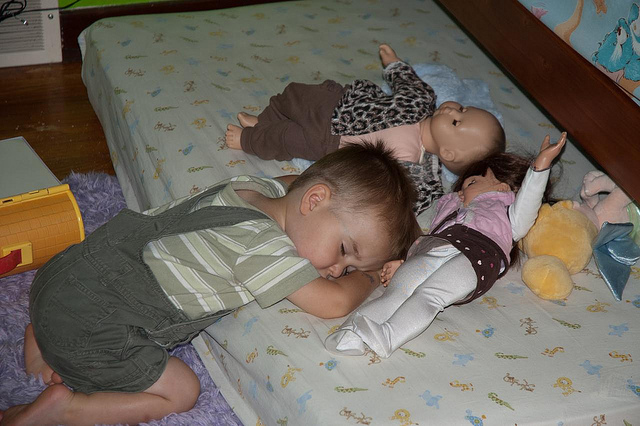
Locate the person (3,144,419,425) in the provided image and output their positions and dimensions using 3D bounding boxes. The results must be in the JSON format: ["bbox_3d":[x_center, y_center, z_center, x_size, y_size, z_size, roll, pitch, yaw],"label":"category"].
[{"bbox_3d":[-0.296,0.293,1.601,1.221,0.470,0.631,-19,58,-8],"label":"person"}]

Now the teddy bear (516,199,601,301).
[{"bbox_3d":[0.730,0.113,1.589,0.245,0.164,0.370,13,49,30],"label":"teddy bear"}]
